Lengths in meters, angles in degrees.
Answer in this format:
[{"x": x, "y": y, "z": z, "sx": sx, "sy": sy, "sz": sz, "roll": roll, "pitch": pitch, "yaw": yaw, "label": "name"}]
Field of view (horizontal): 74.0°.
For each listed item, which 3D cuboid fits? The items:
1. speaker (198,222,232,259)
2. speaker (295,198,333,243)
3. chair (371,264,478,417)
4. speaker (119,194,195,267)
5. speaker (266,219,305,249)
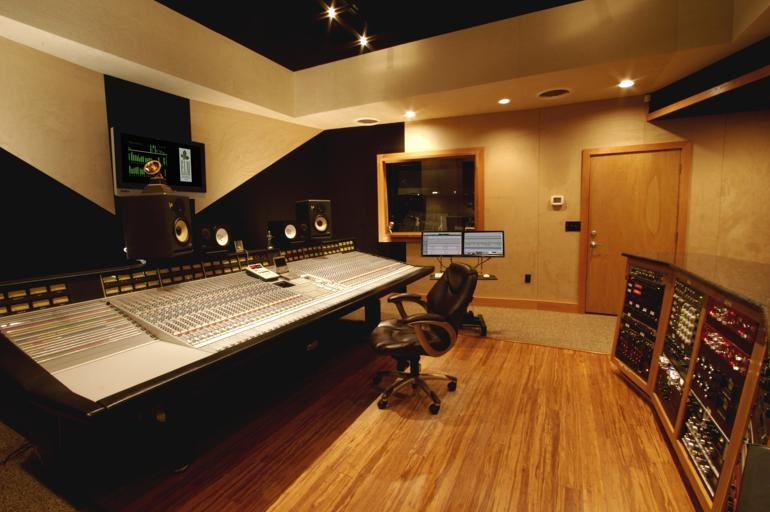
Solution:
[{"x": -1.619, "y": -0.136, "z": 4.840, "sx": 0.308, "sy": 0.281, "sz": 0.795, "roll": -7, "pitch": 11, "yaw": -18, "label": "speaker"}, {"x": -0.763, "y": -0.374, "z": 5.481, "sx": 0.367, "sy": 0.444, "sz": 0.248, "roll": -6, "pitch": 11, "yaw": -11, "label": "speaker"}, {"x": 0.219, "y": 0.734, "z": 5.276, "sx": 1.155, "sy": 1.762, "sz": 1.257, "roll": 1, "pitch": 2, "yaw": -5, "label": "chair"}, {"x": -1.968, "y": -0.238, "z": 4.521, "sx": 0.580, "sy": 0.777, "sz": 0.513, "roll": -1, "pitch": 3, "yaw": -2, "label": "speaker"}, {"x": -1.048, "y": -0.225, "z": 5.419, "sx": 0.169, "sy": 0.239, "sz": 0.326, "roll": -15, "pitch": -5, "yaw": 29, "label": "speaker"}]
